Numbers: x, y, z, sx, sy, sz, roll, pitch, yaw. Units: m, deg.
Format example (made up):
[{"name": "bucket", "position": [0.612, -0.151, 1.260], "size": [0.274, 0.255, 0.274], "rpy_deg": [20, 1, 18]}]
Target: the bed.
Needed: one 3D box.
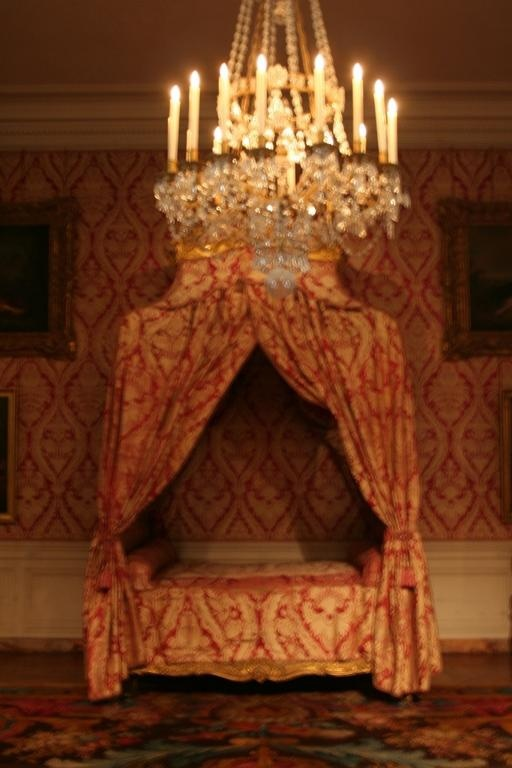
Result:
[{"name": "bed", "position": [0.039, 0.446, 6.010], "size": [1.908, 2.468, 1.579], "rpy_deg": [0, 2, 1]}]

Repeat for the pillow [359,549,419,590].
[{"name": "pillow", "position": [0.691, 1.025, 5.598], "size": [0.233, 0.170, 0.564], "rpy_deg": [-1, 2, -9]}]
